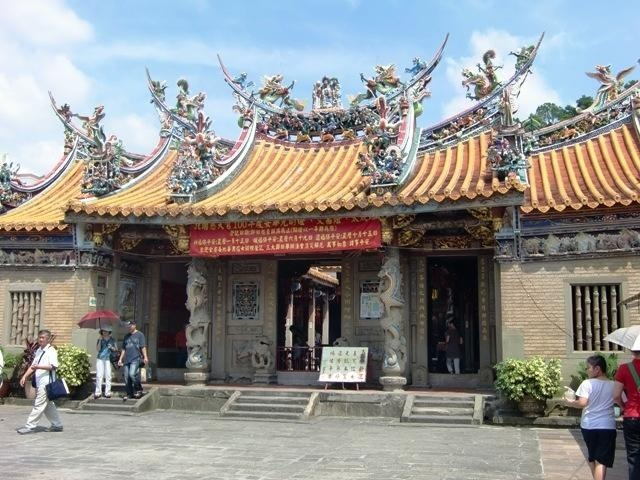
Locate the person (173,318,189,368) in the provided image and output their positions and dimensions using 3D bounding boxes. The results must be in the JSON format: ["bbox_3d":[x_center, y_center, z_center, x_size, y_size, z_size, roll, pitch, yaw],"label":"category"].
[{"bbox_3d":[-3.591,2.754,20.513,0.278,1.159,0.895,2,-10,-11],"label":"person"}]

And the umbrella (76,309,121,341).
[{"bbox_3d":[-4.574,1.710,16.651,0.651,0.447,0.783,-6,-11,31],"label":"umbrella"}]

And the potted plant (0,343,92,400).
[{"bbox_3d":[-5.781,2.810,17.096,1.878,1.207,1.306,0,-13,-1],"label":"potted plant"}]

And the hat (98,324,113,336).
[{"bbox_3d":[-4.579,1.926,16.701,0.299,0.074,0.279,20,-48,-42],"label":"hat"}]

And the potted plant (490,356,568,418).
[{"bbox_3d":[3.956,2.798,14.964,1.234,1.144,0.668,-3,-10,16],"label":"potted plant"}]

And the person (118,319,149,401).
[{"bbox_3d":[-3.901,2.540,16.461,0.531,1.581,1.045,3,-10,-14],"label":"person"}]

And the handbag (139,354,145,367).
[{"bbox_3d":[-3.620,2.505,16.189,0.156,0.212,0.073,1,3,32],"label":"handbag"}]

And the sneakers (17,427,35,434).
[{"bbox_3d":[-4.918,3.204,13.180,0.289,0.107,0.238,1,-9,-3],"label":"sneakers"}]

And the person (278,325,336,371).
[{"bbox_3d":[-0.426,2.686,18.944,0.985,0.889,0.957,-1,-10,6],"label":"person"}]
